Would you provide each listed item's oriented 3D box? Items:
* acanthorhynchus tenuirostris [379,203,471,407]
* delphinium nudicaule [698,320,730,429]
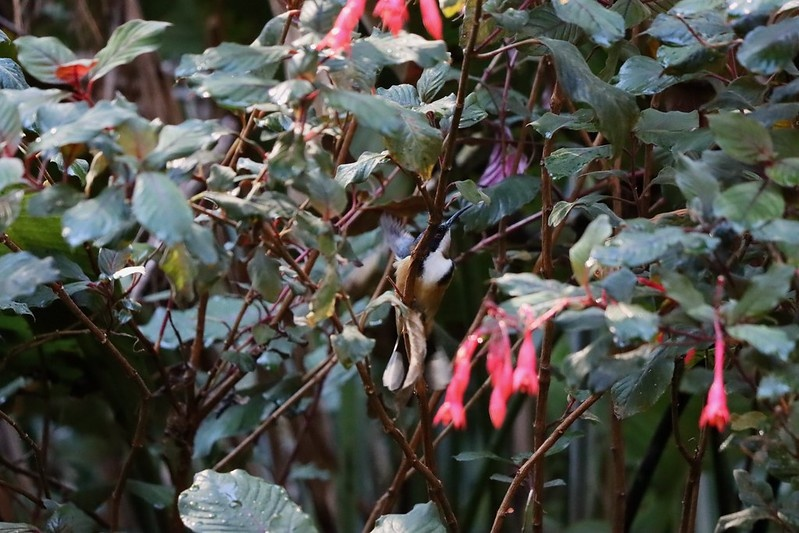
[{"bbox_3d":[0.047,0.069,2.442,0.225,0.569,0.861,6,-12,-1],"label":"acanthorhynchus tenuirostris"},{"bbox_3d":[0.594,0.200,1.779,0.048,0.216,0.047,-1,3,-43],"label":"delphinium nudicaule"}]
